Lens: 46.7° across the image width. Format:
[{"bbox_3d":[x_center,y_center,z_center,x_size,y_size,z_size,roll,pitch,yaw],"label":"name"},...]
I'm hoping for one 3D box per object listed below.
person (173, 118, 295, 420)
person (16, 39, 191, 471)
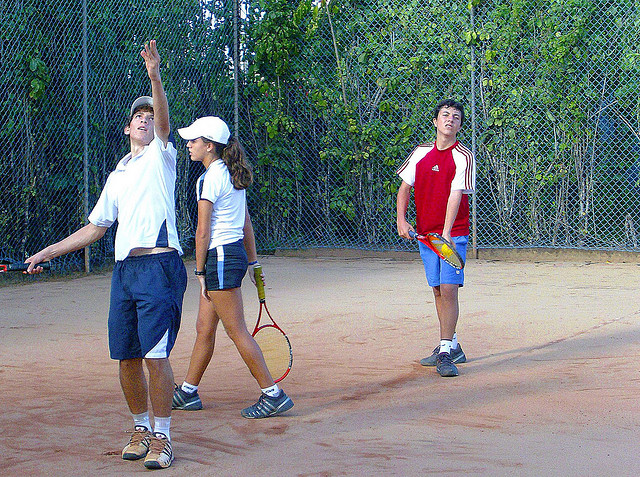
[{"bbox_3d":[-0.650,0.186,5.139,0.824,2.010,0.664,-2,11,-6],"label":"person"},{"bbox_3d":[-1.145,0.074,4.558,0.756,2.498,0.884,-8,12,-32],"label":"person"}]
